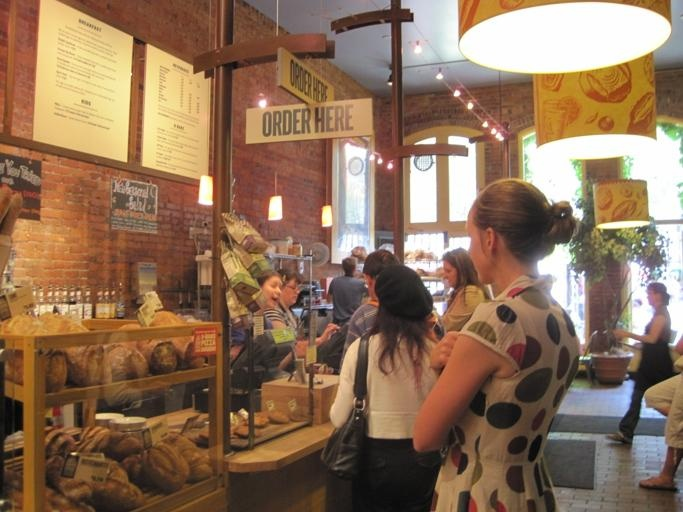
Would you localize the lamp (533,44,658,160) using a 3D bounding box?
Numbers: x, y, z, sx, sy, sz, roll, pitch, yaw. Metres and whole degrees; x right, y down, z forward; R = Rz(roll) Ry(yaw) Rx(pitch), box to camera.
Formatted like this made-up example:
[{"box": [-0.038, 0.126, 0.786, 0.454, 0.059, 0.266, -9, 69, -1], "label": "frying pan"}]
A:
[{"box": [0.954, -0.563, 2.377, 0.408, 0.503, 0.428, -2, 2, -1], "label": "lamp"}]

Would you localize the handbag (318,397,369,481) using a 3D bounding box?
[{"box": [0.024, 0.814, 2.622, 0.155, 0.373, 0.262, 16, -4, -1], "label": "handbag"}]

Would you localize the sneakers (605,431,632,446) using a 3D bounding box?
[{"box": [2.925, 1.931, 6.126, 0.079, 0.101, 0.219, 8, -5, -37], "label": "sneakers"}]

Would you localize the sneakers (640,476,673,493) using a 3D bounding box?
[{"box": [2.616, 1.880, 4.804, 0.211, 0.091, 0.107, 2, -11, 26], "label": "sneakers"}]

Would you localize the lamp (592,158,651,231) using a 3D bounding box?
[{"box": [3.000, -0.632, 6.327, 0.596, 0.715, 0.610, 1, -4, -44], "label": "lamp"}]

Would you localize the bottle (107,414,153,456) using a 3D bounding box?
[{"box": [-0.768, 0.654, 2.094, 0.125, 0.136, 0.133, -1, -3, 18], "label": "bottle"}]

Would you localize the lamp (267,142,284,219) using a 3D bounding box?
[{"box": [-1.069, -1.057, 9.190, 0.217, 1.030, 1.138, -1, -1, -7], "label": "lamp"}]

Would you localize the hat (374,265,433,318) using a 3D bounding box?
[{"box": [0.308, 0.143, 2.684, 0.306, 0.161, 0.230, 18, 38, 14], "label": "hat"}]
